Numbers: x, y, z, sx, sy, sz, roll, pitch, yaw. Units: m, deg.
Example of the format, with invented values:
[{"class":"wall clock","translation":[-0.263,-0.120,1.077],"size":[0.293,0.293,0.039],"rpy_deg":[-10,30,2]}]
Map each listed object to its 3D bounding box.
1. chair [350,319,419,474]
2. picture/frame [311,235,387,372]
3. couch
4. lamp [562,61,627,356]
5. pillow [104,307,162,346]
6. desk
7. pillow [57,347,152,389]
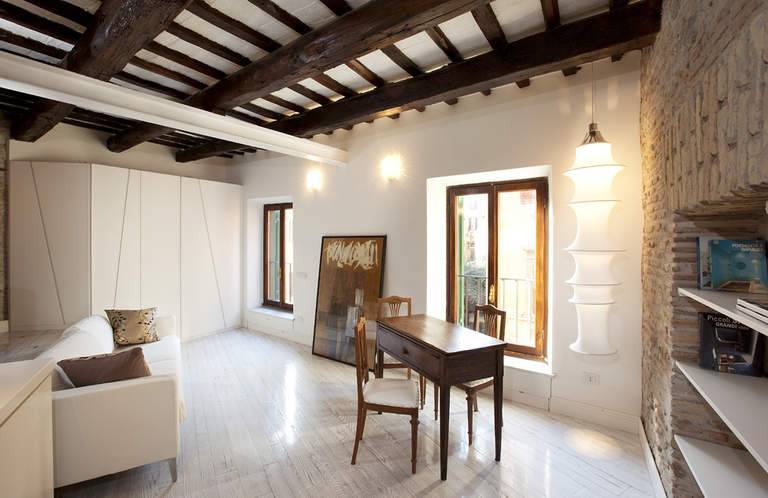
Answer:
[{"class":"chair","translation":[0.072,1.456,4.652],"size":[0.867,1.270,0.837],"rpy_deg":[1,2,-8]},{"class":"picture/frame","translation":[-0.510,0.753,6.727],"size":[0.050,1.855,1.338],"rpy_deg":[-3,-9,42]},{"class":"couch","translation":[-2.597,1.509,4.498],"size":[1.224,1.367,1.743],"rpy_deg":[1,2,-36]},{"class":"lamp","translation":[2.116,-0.043,4.615],"size":[0.533,2.281,0.302],"rpy_deg":[3,2,22]},{"class":"pillow","translation":[-3.236,1.019,5.844],"size":[0.546,0.452,0.279],"rpy_deg":[0,2,-44]},{"class":"desk","translation":[0.537,1.437,4.988],"size":[0.777,1.073,1.563],"rpy_deg":[-1,4,-24]},{"class":"pillow","translation":[-2.567,1.097,4.188],"size":[0.462,0.141,0.452],"rpy_deg":[6,11,-28]}]
